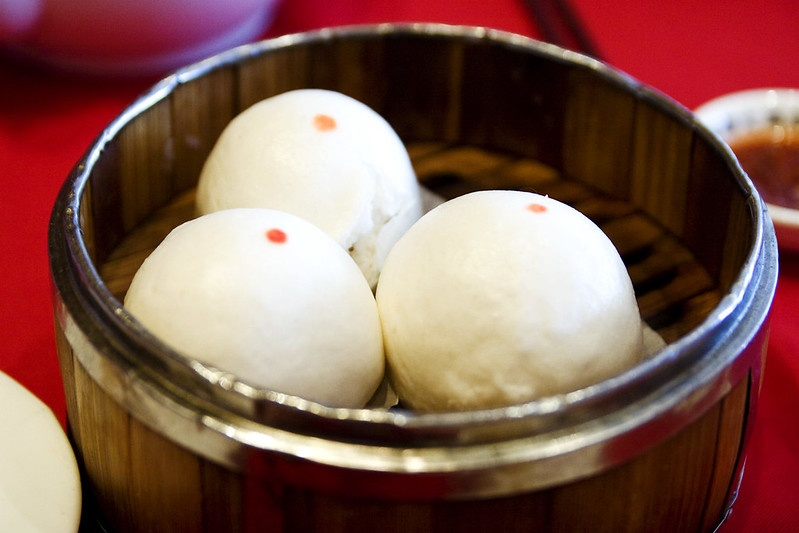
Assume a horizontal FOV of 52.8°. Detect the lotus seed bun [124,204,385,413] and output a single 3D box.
[{"bbox_3d":[-0.137,0.076,0.778,0.184,0.144,0.193,25,22,-27],"label":"lotus seed bun"}]
